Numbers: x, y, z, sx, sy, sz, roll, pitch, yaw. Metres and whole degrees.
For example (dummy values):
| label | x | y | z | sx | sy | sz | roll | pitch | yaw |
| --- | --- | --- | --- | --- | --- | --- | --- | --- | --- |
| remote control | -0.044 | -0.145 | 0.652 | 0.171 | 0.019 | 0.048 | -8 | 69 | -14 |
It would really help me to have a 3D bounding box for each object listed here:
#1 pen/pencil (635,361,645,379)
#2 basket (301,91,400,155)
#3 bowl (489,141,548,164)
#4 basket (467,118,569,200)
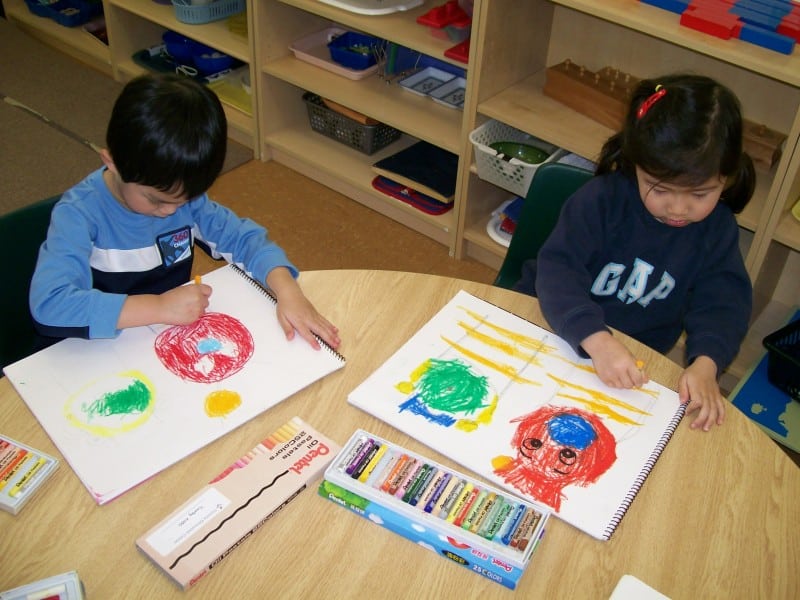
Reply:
| label | x | y | z | sx | sy | sz | roll | pitch | yaw |
| --- | --- | --- | --- | --- | --- | --- | --- | --- | --- |
| pen/pencil | 0.455 | 0.131 | 1.142 | 0.009 | 0.028 | 0.029 | -11 | 2 | 27 |
| basket | -0.241 | -0.786 | 2.821 | 0.416 | 0.154 | 0.274 | 27 | 42 | 19 |
| bowl | 0.458 | -0.573 | 2.295 | 0.177 | 0.037 | 0.148 | 20 | 37 | 20 |
| basket | 0.420 | -0.586 | 2.206 | 0.288 | 0.163 | 0.385 | 25 | 34 | 16 |
